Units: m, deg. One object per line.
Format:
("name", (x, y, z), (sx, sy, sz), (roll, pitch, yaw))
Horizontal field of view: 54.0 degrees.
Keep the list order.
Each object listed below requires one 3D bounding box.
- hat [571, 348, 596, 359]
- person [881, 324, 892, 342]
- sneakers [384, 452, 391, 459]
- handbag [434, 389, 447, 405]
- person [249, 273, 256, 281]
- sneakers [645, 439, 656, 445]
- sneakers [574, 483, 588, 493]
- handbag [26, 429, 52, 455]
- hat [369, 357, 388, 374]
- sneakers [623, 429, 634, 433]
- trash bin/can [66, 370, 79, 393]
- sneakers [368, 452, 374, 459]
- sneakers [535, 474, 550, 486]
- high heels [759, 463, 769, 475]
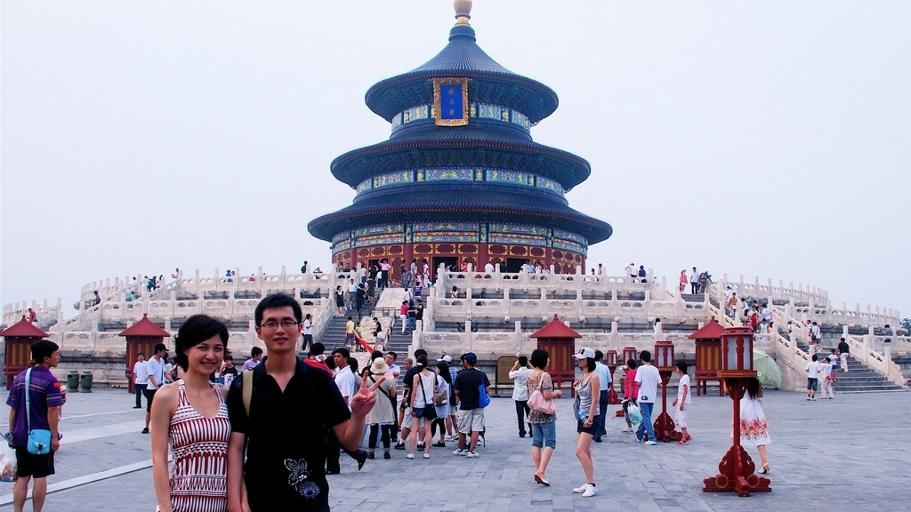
("hat", (2.979, 2.171, 19.915), (0.530, 0.255, 0.327), (3, -6, -26))
("person", (21.613, 3.886, 45.188), (0.499, 0.852, 0.486), (-8, 7, -39))
("sneakers", (-1.713, 4.897, 22.044), (0.115, 0.173, 0.184), (2, -25, -5))
("handbag", (-0.426, 3.581, 22.671), (0.380, 0.353, 0.265), (11, -22, -15))
("person", (-9.853, 1.056, 43.181), (0.299, 0.368, 1.250), (-2, 6, -13))
("sneakers", (5.011, 4.838, 23.305), (0.280, 0.113, 0.102), (2, -13, 32))
("sneakers", (2.618, 4.955, 19.069), (0.129, 0.131, 0.313), (25, -20, -11))
("handbag", (-7.995, 3.541, 17.116), (0.508, 0.541, 0.301), (3, -2, -10))
("hat", (-1.874, 2.680, 21.840), (0.390, 0.213, 0.414), (8, 31, -9))
("sneakers", (4.797, 4.913, 25.181), (0.232, 0.085, 0.114), (2, -6, 6))
("trash bin/can", (-14.856, 4.872, 34.723), (0.360, 0.784, 0.390), (-5, 8, -32))
("sneakers", (-2.125, 4.904, 22.080), (0.147, 0.138, 0.102), (-3, -6, 9))
("sneakers", (1.843, 4.844, 19.376), (0.183, 0.126, 0.356), (27, -5, 40))
("high heels", (6.895, 4.766, 20.079), (0.151, 0.161, 0.399), (4, -1, 6))
